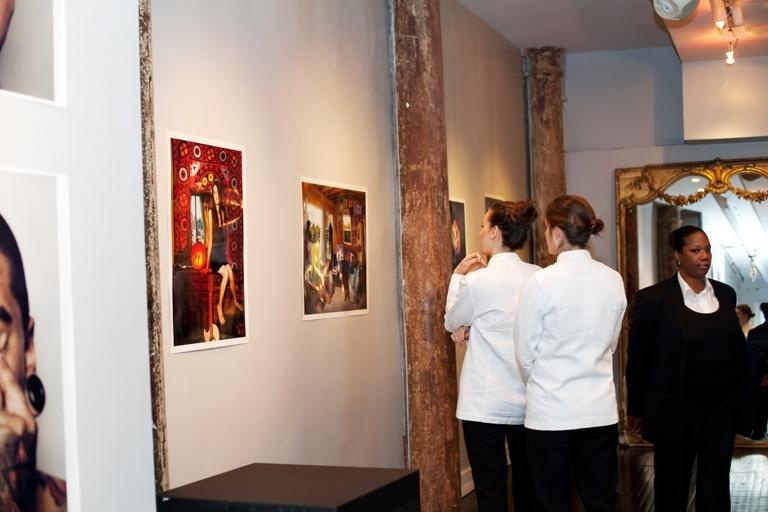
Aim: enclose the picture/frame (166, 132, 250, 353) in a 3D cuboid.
[{"bbox_3d":[-0.833,-0.060,2.833,0.067,0.956,0.435,-6,-3,31],"label":"picture/frame"}]
